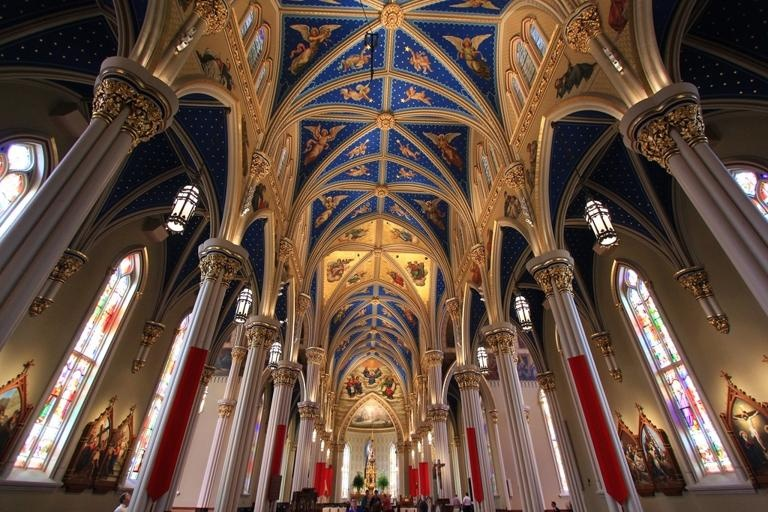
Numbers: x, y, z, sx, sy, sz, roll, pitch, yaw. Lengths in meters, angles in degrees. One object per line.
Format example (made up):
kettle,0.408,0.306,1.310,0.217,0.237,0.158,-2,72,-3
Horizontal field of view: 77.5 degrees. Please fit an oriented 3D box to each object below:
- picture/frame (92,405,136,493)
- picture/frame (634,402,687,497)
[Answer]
picture/frame,-9.699,6.680,16.934,1.652,0.350,4.342,17,-65,-13
picture/frame,9.394,6.592,16.454,0.565,2.838,1.084,27,-41,-36
